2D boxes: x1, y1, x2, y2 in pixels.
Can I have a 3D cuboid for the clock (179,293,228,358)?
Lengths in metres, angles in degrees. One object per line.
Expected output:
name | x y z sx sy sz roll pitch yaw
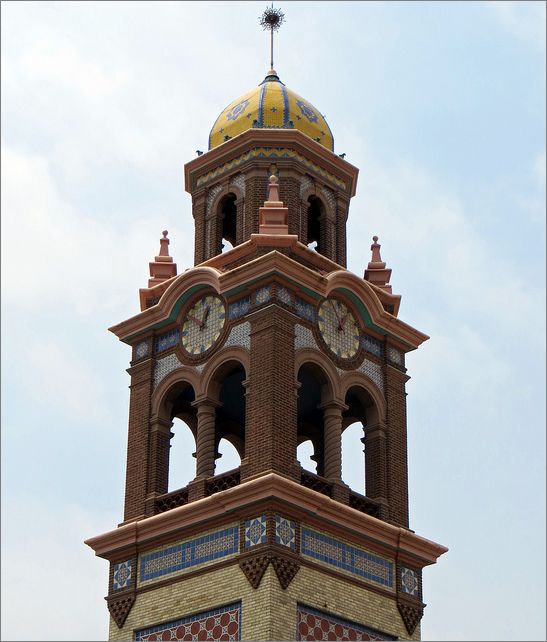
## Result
clock | -1.615 0.084 47.011 0.110 1.155 1.085 21 -37 -31

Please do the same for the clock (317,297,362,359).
clock | 1.541 0.121 47.304 1.518 0.138 1.656 27 -52 40
